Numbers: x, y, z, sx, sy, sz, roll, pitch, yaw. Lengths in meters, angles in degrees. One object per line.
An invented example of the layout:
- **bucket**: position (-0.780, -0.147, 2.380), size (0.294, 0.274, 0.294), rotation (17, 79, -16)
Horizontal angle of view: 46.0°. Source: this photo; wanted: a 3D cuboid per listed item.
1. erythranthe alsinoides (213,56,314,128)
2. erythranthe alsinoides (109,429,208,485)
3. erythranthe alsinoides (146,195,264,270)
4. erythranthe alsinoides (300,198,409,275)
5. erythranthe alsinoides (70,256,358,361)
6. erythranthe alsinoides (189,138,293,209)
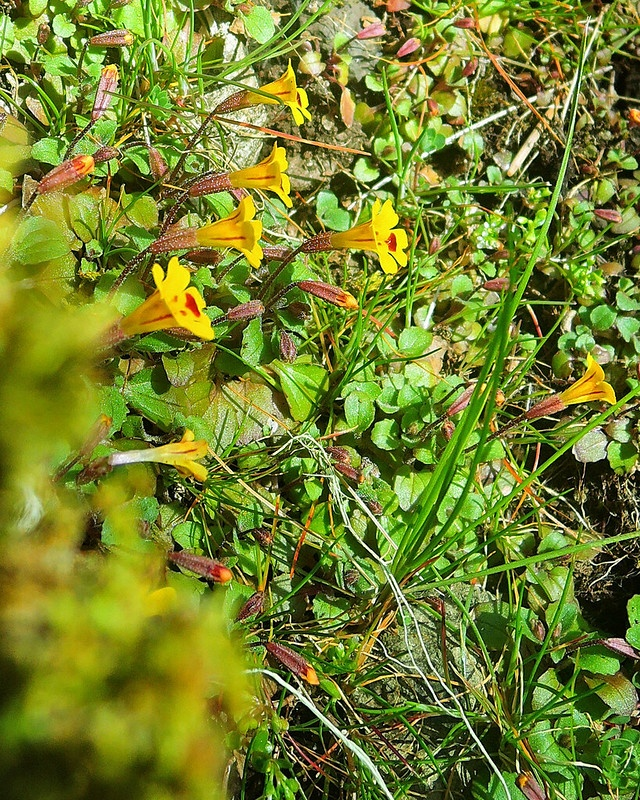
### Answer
- **erythranthe alsinoides**: position (-0.139, -0.601, 1.534), size (0.212, 0.114, 0.118), rotation (-11, 18, 5)
- **erythranthe alsinoides**: position (-0.252, 0.087, 1.166), size (0.138, 0.082, 0.070), rotation (0, 92, -8)
- **erythranthe alsinoides**: position (-0.209, -0.279, 1.295), size (0.197, 0.097, 0.102), rotation (-17, 91, -24)
- **erythranthe alsinoides**: position (0.044, -0.326, 1.510), size (0.214, 0.110, 0.125), rotation (-3, 18, 32)
- **erythranthe alsinoides**: position (-0.220, -0.179, 1.466), size (0.138, 0.268, 0.134), rotation (-44, 112, -48)
- **erythranthe alsinoides**: position (-0.152, -0.413, 1.397), size (0.206, 0.116, 0.116), rotation (-2, 83, 20)
